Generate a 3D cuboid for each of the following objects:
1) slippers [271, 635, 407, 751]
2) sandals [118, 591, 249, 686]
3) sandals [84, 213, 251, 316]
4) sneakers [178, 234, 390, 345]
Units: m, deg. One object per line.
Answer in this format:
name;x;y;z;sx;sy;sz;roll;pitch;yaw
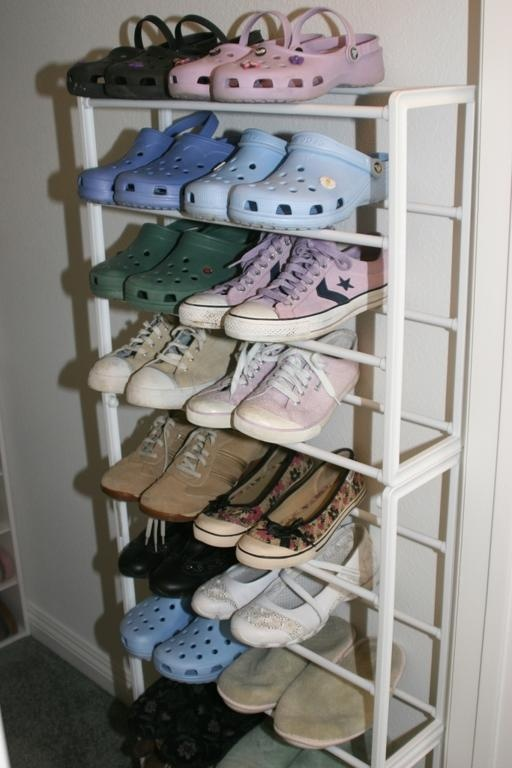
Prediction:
slippers;0.116;0.431;0.906;0.115;0.061;0.227;10;27;34
sandals;-0.121;0.399;0.995;0.140;0.068;0.193;4;4;31
sandals;-0.117;-0.204;0.887;0.152;0.067;0.206;18;35;33
sneakers;0.048;-0.119;0.745;0.220;0.083;0.140;-18;30;-36
